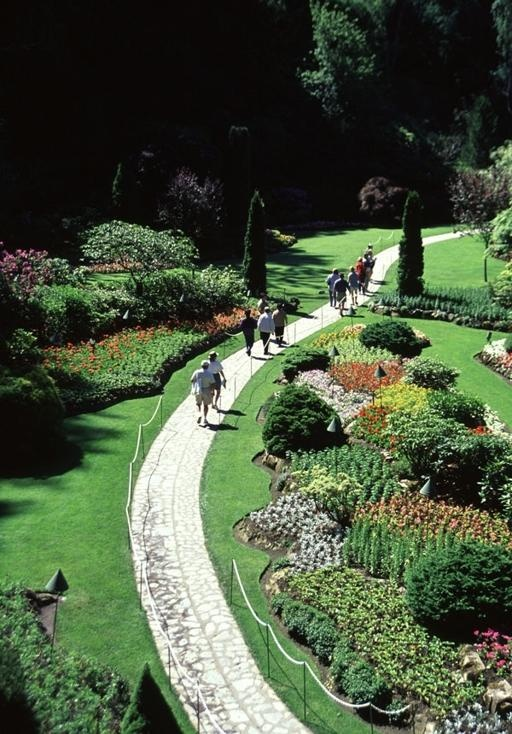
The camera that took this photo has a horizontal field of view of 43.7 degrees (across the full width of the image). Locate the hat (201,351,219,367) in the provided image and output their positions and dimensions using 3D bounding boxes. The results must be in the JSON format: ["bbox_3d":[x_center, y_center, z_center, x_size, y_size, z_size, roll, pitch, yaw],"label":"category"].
[{"bbox_3d":[-1.051,-0.205,14.849,0.510,0.222,0.582,2,3,1],"label":"hat"}]

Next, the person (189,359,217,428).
[{"bbox_3d":[-1.221,0.581,14.978,0.515,1.634,1.310,-2,11,-5],"label":"person"}]
